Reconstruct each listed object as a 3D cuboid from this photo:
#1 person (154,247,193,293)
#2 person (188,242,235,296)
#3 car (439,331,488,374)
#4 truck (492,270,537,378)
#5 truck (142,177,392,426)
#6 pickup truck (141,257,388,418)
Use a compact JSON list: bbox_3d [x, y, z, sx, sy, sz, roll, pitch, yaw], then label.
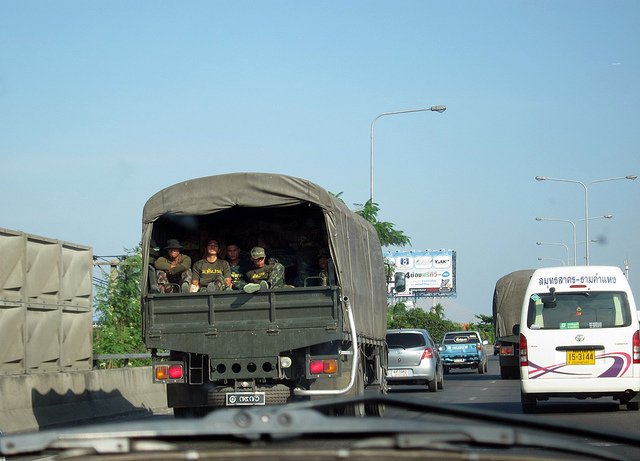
[{"bbox_3d":[-2.588,0.634,21.115,0.623,0.924,1.047,-1,4,0],"label":"person"},{"bbox_3d":[-1.903,0.752,21.137,0.606,1.106,0.682,0,-6,2],"label":"person"},{"bbox_3d":[5.486,4.672,45.765,1.975,1.709,3.837,-1,-5,15],"label":"car"},{"bbox_3d":[5.874,2.820,36.280,1.014,3.184,2.934,-2,-8,5],"label":"truck"},{"bbox_3d":[-0.821,1.160,20.960,3.321,3.753,8.759,-1,-4,9],"label":"truck"},{"bbox_3d":[-2.279,1.698,20.445,3.127,2.961,7.026,-2,-10,6],"label":"pickup truck"}]
